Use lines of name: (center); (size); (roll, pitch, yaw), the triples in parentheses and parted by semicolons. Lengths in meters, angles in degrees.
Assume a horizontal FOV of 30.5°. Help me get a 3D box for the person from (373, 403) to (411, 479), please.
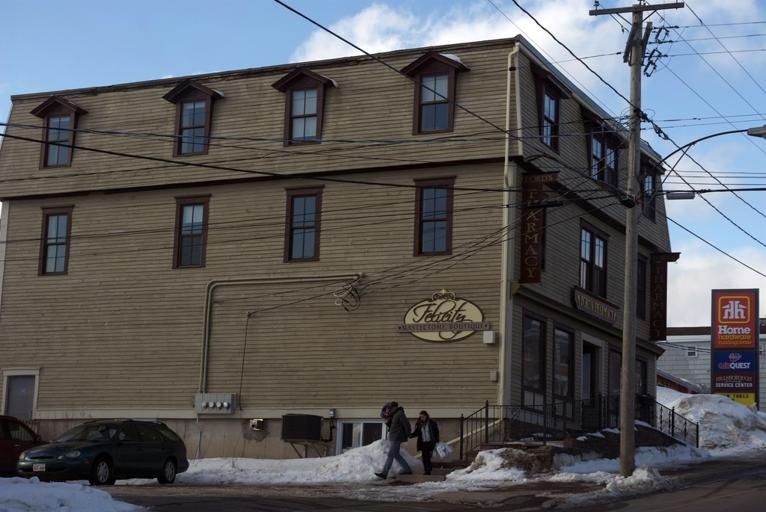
person: (0.429, 6.376, 48.386); (1.135, 2.739, 1.585); (-2, -13, 0)

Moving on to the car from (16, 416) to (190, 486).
car: (-9.247, 6.644, 47.198); (1.762, 2.172, 5.031); (-14, -17, 42)
